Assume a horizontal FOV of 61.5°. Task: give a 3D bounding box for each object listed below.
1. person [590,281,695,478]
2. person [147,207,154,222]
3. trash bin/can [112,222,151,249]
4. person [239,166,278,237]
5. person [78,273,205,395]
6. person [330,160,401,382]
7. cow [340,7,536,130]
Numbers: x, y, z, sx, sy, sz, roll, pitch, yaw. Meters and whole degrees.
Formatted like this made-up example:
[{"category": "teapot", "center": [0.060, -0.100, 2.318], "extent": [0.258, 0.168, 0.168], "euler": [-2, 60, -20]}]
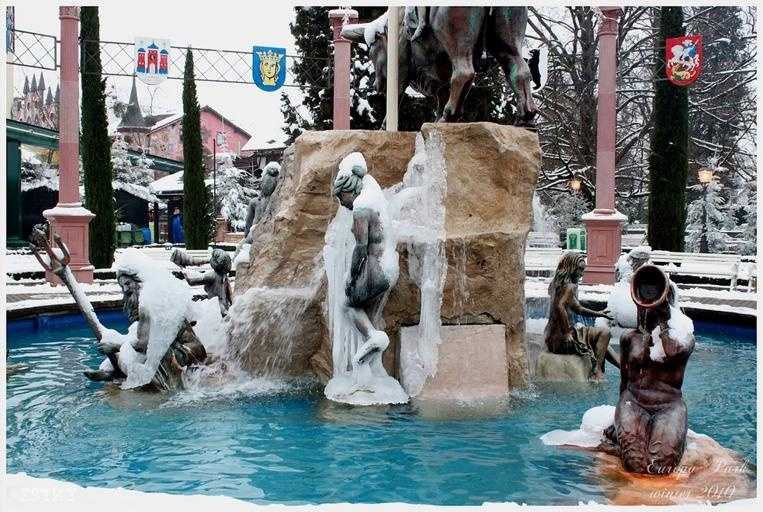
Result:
[{"category": "person", "center": [2.677, 1.274, 6.288], "extent": [0.678, 1.615, 0.595], "euler": [5, 10, 27]}, {"category": "person", "center": [-14.290, -2.501, 39.556], "extent": [0.240, 0.792, 1.540], "euler": [-2, 10, -15]}, {"category": "trash bin/can", "center": [-12.488, -1.045, 32.062], "extent": [1.289, 1.195, 4.610], "euler": [-2, 10, -17]}, {"category": "person", "center": [-2.186, -1.030, 11.572], "extent": [0.503, 1.338, 1.890], "euler": [-2, 10, -15]}, {"category": "person", "center": [-3.020, 0.945, 8.127], "extent": [1.427, 1.529, 0.493], "euler": [2, 9, 9]}, {"category": "person", "center": [-0.171, 0.051, 7.753], "extent": [0.778, 2.545, 0.487], "euler": [1, 9, 1]}, {"category": "cow", "center": [0.947, -2.796, 9.366], "extent": [1.225, 1.769, 2.584], "euler": [-7, 12, -42]}]
